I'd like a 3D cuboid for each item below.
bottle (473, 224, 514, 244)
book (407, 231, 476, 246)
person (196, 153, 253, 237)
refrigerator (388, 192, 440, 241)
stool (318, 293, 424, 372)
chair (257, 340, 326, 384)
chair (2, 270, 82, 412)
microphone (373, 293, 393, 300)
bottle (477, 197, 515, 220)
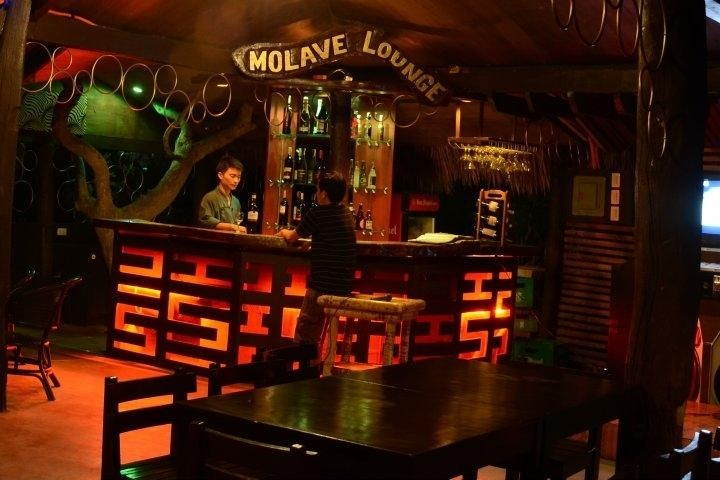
[{"bbox_3d":[1.495,-0.096,7.299,0.278,0.101,0.235,7,-31,16],"label":"bottle"},{"bbox_3d":[0.905,0.007,7.023,0.684,0.127,0.668,7,9,9],"label":"book"},{"bbox_3d":[-1.531,-0.511,7.328,0.548,0.850,0.869,3,8,-14],"label":"person"},{"bbox_3d":[0.911,-0.383,10.515,0.671,0.786,3.145,6,9,7],"label":"refrigerator"},{"bbox_3d":[0.185,0.790,5.830,0.757,0.816,0.761,3,1,32],"label":"stool"},{"bbox_3d":[-0.460,0.816,4.263,0.292,0.237,0.302,2,2,2],"label":"chair"},{"bbox_3d":[-3.451,1.129,6.943,0.981,1.332,1.146,6,-2,-13],"label":"chair"},{"bbox_3d":[0.224,0.517,5.701,0.131,0.040,0.131,-1,3,-20],"label":"microphone"},{"bbox_3d":[1.555,-0.367,7.335,0.277,0.263,0.583,2,9,-26],"label":"bottle"}]
